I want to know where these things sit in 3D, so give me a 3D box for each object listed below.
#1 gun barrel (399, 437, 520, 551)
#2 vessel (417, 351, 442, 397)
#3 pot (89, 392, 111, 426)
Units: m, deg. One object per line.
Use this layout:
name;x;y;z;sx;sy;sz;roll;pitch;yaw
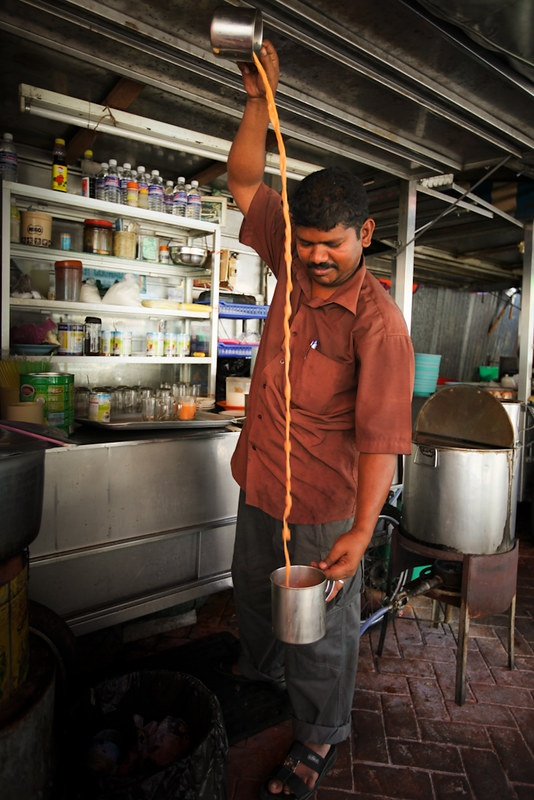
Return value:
gun barrel;0.832;0.419;2.647;0.480;0.454;0.266;6;6;21
vessel;1.123;-0.170;4.292;0.156;0.306;0.360;5;6;13
pot;-0.799;0.028;2.910;0.097;0.138;0.186;1;6;-18
